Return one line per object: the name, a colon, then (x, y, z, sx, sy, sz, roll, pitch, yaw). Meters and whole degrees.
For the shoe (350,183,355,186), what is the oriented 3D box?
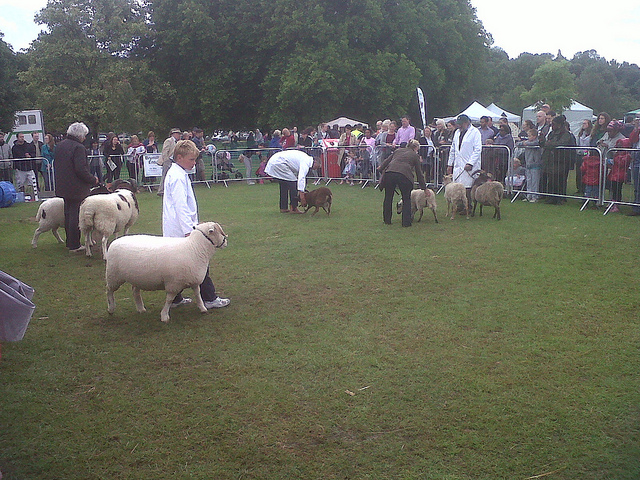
shoe: (1.077, -1.954, 21.175, 0.100, 0.128, 0.306, -1, 3, 25)

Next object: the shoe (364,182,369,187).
shoe: (1.569, -1.926, 20.851, 0.187, 0.192, 0.038, 0, 1, -10)

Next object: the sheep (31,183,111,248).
sheep: (-5.376, -0.482, 12.460, 0.418, 1.078, 1.462, 19, 7, 13)

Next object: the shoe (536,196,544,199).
shoe: (5.856, -1.142, 16.122, 0.125, 0.072, 0.096, 2, 13, 20)

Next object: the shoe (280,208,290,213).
shoe: (-0.920, -0.774, 15.635, 0.227, 0.088, 0.150, -6, 13, -18)

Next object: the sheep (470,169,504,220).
sheep: (3.754, -1.041, 13.797, 0.491, 1.099, 0.932, -5, 12, -12)

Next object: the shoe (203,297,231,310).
shoe: (-1.537, 0.928, 8.907, 0.355, 0.145, 0.137, -8, 11, -11)

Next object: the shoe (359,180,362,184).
shoe: (1.380, -2.067, 21.315, 0.029, 0.091, 0.098, 3, -18, 19)

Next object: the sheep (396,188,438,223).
sheep: (2.241, -0.767, 13.495, 0.591, 0.795, 0.659, -11, 15, -34)

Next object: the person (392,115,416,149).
person: (2.517, -2.943, 18.460, 0.609, 1.625, 0.560, 6, 10, 37)

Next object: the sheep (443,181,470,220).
sheep: (3.125, -1.001, 14.212, 0.350, 0.922, 1.402, -2, 8, -4)

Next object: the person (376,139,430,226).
person: (1.791, -1.196, 13.327, 1.135, 1.741, 0.812, 4, 14, 28)

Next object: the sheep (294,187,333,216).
sheep: (-0.123, -0.979, 15.232, 0.377, 0.810, 1.339, 10, -1, -35)

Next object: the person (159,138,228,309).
person: (-1.949, -0.171, 8.938, 0.937, 2.420, 0.843, 1, 1, 41)

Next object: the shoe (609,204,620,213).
shoe: (6.793, -0.734, 14.019, 0.207, 0.228, 0.206, -2, 3, -1)

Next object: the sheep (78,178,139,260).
sheep: (-4.025, -0.478, 11.699, 0.823, 1.340, 1.764, 3, 13, 7)
